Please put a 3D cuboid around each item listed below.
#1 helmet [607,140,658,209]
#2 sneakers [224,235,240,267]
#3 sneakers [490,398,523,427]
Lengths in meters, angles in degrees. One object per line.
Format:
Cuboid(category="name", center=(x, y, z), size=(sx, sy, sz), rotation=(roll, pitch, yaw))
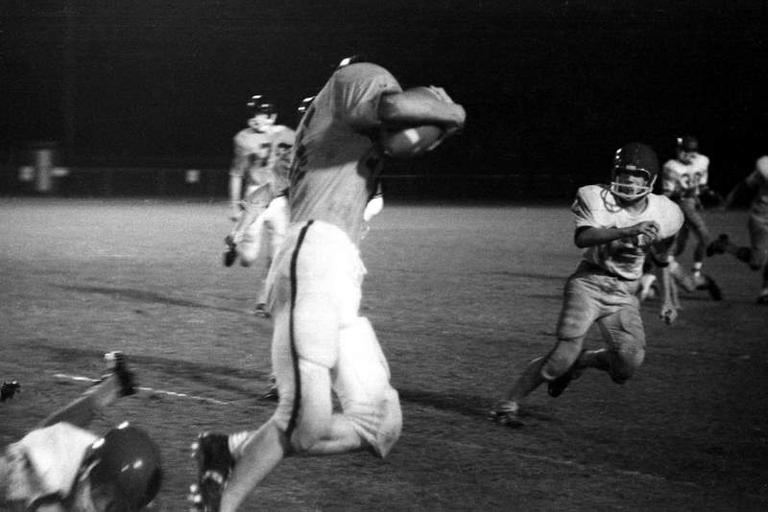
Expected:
Cuboid(category="helmet", center=(1.854, -0.636, 4.864), size=(0.358, 0.401, 0.479), rotation=(6, -1, 29))
Cuboid(category="sneakers", center=(-1.514, -0.043, 6.458), size=(0.169, 0.272, 0.110), rotation=(10, 5, 40))
Cuboid(category="sneakers", center=(0.926, 1.146, 4.665), size=(0.242, 0.171, 0.222), rotation=(1, 8, -4))
